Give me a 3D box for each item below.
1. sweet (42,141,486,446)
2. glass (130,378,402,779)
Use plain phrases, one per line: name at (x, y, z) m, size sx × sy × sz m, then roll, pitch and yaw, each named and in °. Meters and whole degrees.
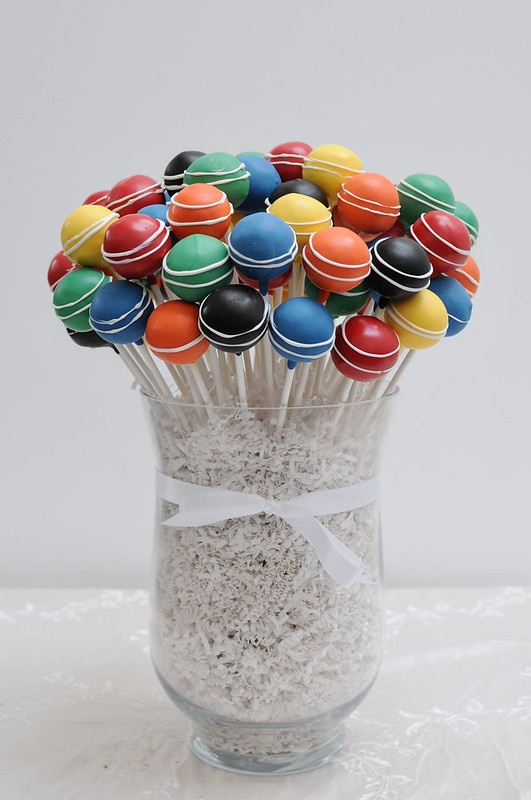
sweet at (-0.026, -0.152, 0.944) m, size 0.512 × 0.336 × 0.345 m, roll 4°, pitch 11°, yaw 18°
glass at (0.016, 0.243, 1.070) m, size 0.343 × 0.464 × 0.336 m, roll -7°, pitch 11°, yaw -38°
